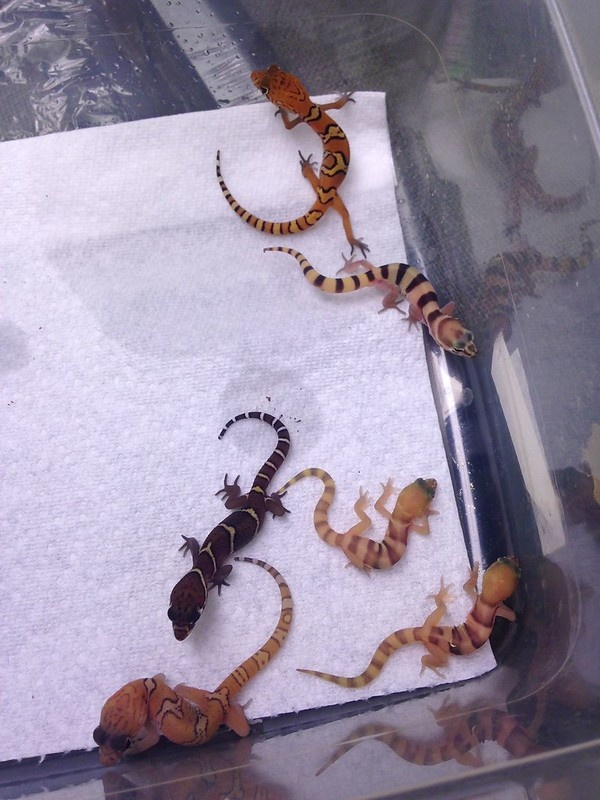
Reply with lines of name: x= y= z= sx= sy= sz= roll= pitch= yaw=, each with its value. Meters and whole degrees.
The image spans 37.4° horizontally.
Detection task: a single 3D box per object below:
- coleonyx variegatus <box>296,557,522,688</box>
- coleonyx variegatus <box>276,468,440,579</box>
coleonyx variegatus: x=0.517 y=0.848 z=3.351 sx=1.034 sy=0.165 sz=0.319 roll=-25 pitch=83 yaw=2
coleonyx variegatus: x=0.216 y=0.450 z=3.393 sx=0.727 sy=0.097 sz=0.375 roll=-6 pitch=79 yaw=29
